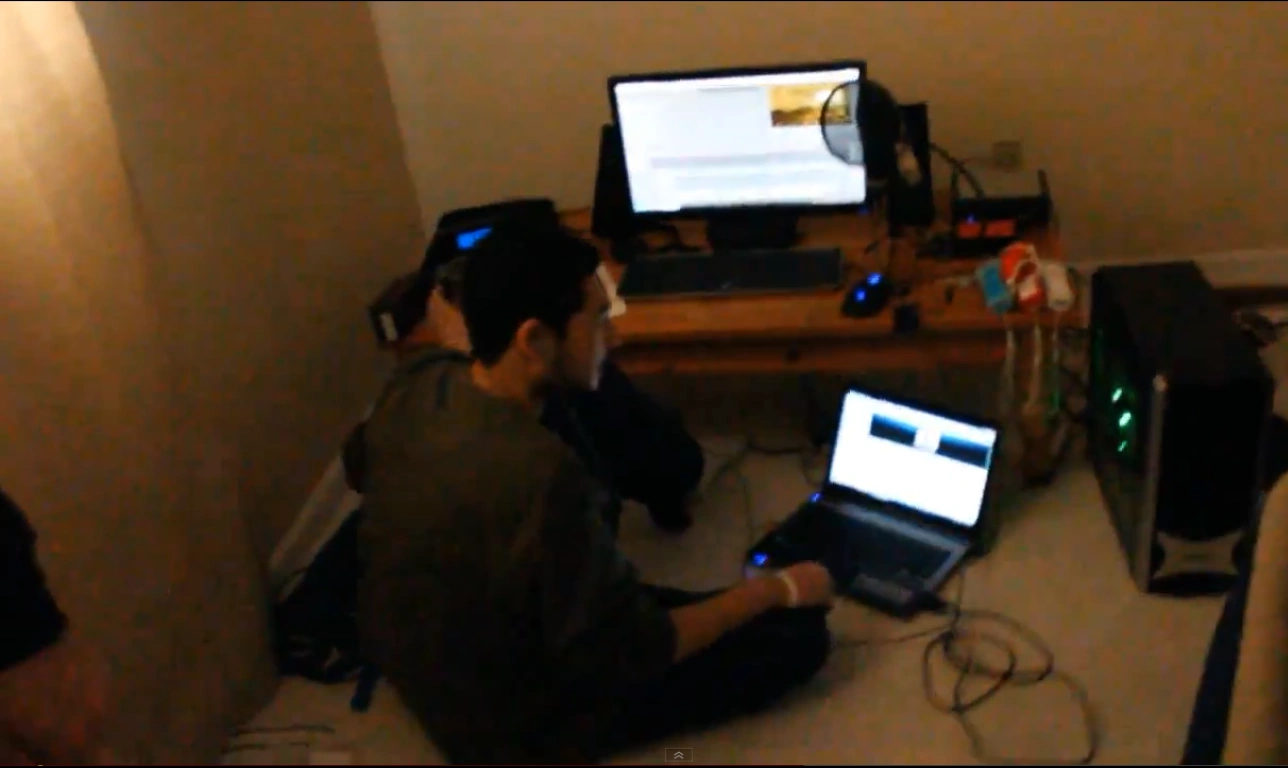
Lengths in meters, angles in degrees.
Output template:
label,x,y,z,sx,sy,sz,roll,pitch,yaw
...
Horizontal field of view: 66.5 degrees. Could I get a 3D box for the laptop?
label,x,y,z,sx,sy,sz,roll,pitch,yaw
laptop,0.599,0.322,2.500,0.589,0.347,0.595,20,45,36

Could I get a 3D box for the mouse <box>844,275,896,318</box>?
label,x,y,z,sx,sy,sz,roll,pitch,yaw
mouse,0.579,-0.229,2.533,0.132,0.029,0.092,-40,59,-5

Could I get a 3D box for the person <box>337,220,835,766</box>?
label,x,y,z,sx,sy,sz,roll,pitch,yaw
person,-0.181,0.258,2.202,0.950,1.145,0.512,-15,26,-18
